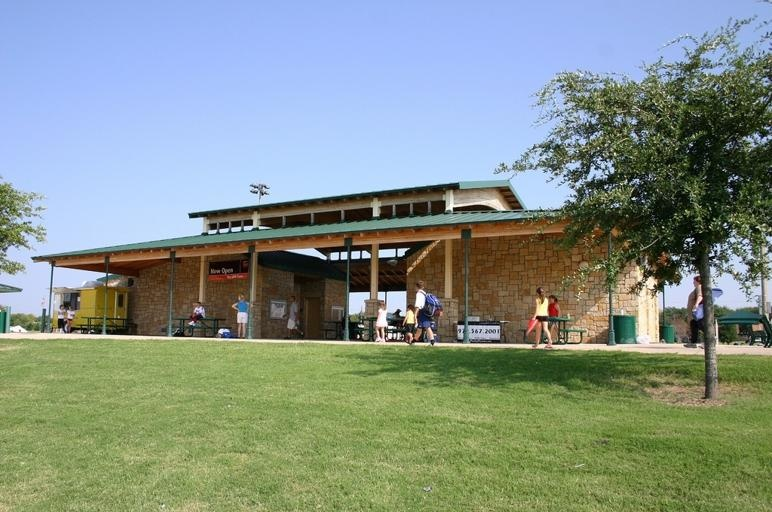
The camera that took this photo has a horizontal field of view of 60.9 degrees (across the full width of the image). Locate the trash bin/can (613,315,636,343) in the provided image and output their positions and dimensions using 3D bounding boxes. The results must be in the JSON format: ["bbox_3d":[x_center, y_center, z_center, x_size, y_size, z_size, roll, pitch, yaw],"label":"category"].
[{"bbox_3d":[7.553,2.317,20.641,0.857,0.882,0.837,0,-5,10],"label":"trash bin/can"}]

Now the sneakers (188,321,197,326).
[{"bbox_3d":[-7.603,2.641,25.700,0.293,0.152,0.369,0,-1,-4],"label":"sneakers"}]

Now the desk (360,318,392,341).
[{"bbox_3d":[-0.636,2.815,25.035,1.240,0.710,1.155,0,-9,2],"label":"desk"}]

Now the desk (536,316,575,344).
[{"bbox_3d":[5.486,2.471,21.476,1.206,0.811,1.192,-3,-5,21],"label":"desk"}]

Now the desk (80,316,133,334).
[{"bbox_3d":[-12.621,3.172,29.843,2.326,0.508,0.941,1,-26,-7],"label":"desk"}]

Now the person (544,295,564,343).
[{"bbox_3d":[5.013,1.815,19.909,0.535,1.231,0.437,6,-6,-17],"label":"person"}]

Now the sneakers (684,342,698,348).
[{"bbox_3d":[8.219,2.410,17.694,0.308,0.200,0.152,3,6,39],"label":"sneakers"}]
